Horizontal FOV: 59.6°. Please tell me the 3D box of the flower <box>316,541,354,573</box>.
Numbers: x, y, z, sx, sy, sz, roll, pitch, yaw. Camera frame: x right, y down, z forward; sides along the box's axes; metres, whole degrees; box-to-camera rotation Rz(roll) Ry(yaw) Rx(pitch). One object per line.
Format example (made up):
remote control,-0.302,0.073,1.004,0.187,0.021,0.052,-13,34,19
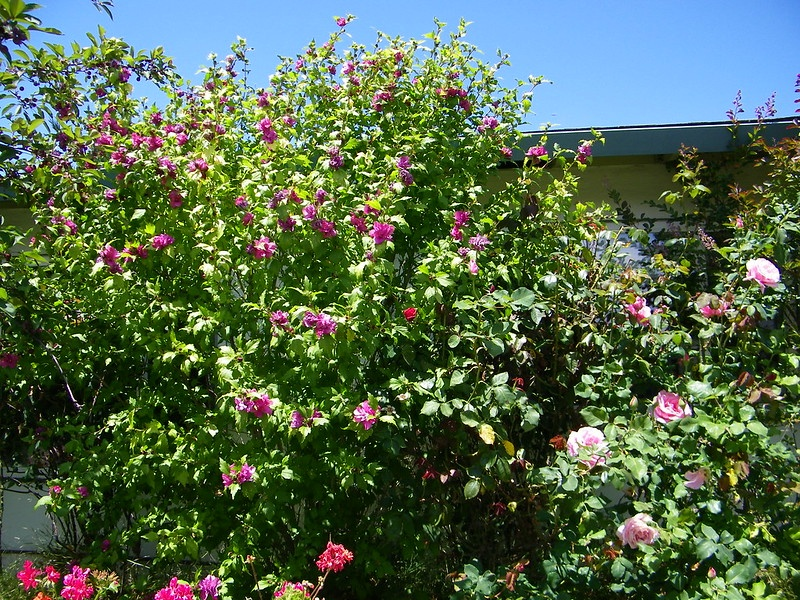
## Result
flower,-0.335,1.302,3.571,0.160,0.139,0.260,-4,-19,-6
